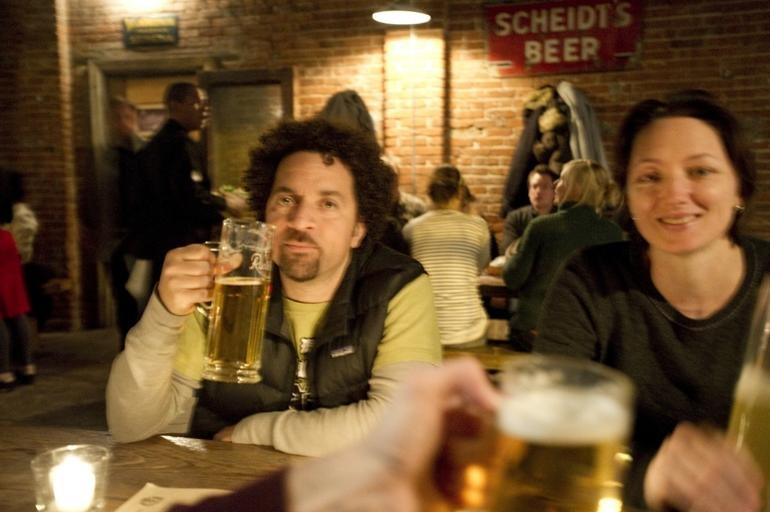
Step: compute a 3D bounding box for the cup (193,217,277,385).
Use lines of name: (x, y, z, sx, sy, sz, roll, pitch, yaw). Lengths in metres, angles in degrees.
cup: (-0.402, 0.123, 1.681, 0.205, 0.450, 0.182, -2, 8, -4)
